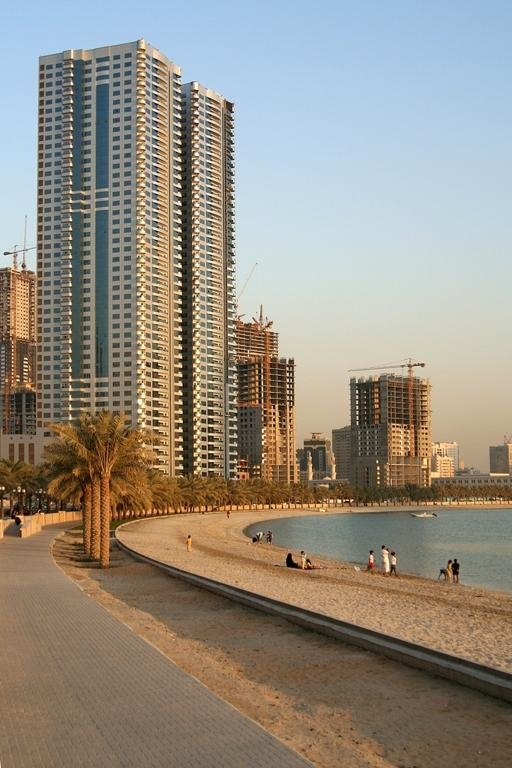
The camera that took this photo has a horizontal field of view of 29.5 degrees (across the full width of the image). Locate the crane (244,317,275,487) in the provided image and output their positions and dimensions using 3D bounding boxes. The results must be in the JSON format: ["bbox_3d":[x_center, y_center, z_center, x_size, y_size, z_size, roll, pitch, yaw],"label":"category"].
[{"bbox_3d":[1.314,7.241,259.993,9.525,50.998,9.765,-3,-1,-1],"label":"crane"}]

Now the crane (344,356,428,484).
[{"bbox_3d":[38.416,12.648,290.826,35.492,34.717,47.129,-4,-7,33],"label":"crane"}]
